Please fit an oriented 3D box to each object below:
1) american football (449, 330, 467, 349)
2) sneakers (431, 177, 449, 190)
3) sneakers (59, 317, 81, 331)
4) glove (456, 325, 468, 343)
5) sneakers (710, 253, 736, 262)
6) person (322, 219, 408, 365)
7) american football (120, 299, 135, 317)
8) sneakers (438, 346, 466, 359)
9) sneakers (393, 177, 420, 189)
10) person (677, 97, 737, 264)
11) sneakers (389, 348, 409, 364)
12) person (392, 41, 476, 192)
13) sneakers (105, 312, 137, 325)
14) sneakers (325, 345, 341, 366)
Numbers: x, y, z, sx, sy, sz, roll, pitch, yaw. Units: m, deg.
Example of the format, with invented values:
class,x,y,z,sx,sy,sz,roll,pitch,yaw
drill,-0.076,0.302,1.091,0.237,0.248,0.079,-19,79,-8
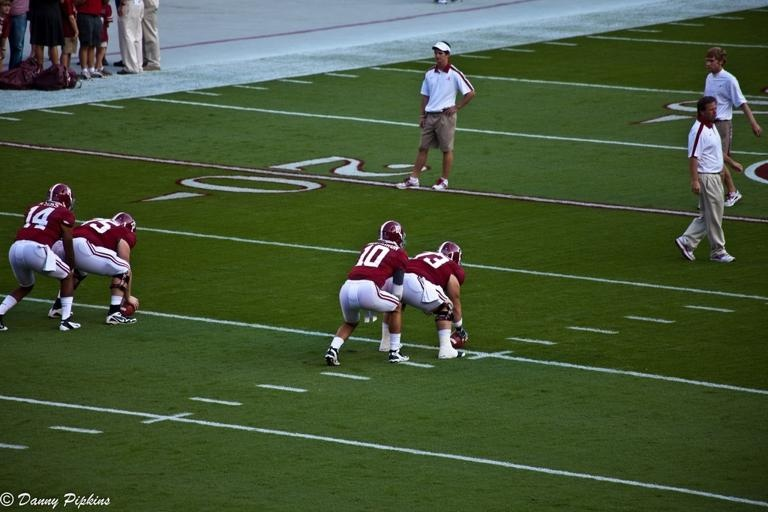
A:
class,x,y,z,sx,sy,sz,roll,pitch,yaw
american football,0.845,0.957,15.370,0.211,0.115,0.196,0,2,4
sneakers,0.930,-1.148,21.702,0.150,0.101,0.297,11,6,29
sneakers,-3.602,0.776,15.654,0.111,0.160,0.313,16,21,41
glove,0.903,0.888,15.475,0.157,0.222,0.098,-29,53,-10
sneakers,4.615,0.014,18.368,0.376,0.114,0.130,0,5,25
person,-0.144,0.405,15.001,0.973,1.577,0.524,2,7,-16
american football,-2.998,0.608,15.969,0.175,0.157,0.167,6,14,-4
sneakers,0.826,1.078,15.186,0.366,0.114,0.107,-7,16,-31
sneakers,0.414,-1.174,21.687,0.475,0.152,0.138,-1,23,-1
person,4.407,-1.023,18.224,0.732,2.212,0.470,4,7,-2
sneakers,0.154,1.100,15.042,0.303,0.135,0.106,-9,20,-32
person,0.912,-2.255,21.818,1.004,2.368,0.834,5,6,2
sneakers,-3.079,0.719,15.898,0.438,0.129,0.130,-1,12,-14
sneakers,-0.567,1.116,14.876,0.133,0.117,0.284,5,-15,20
